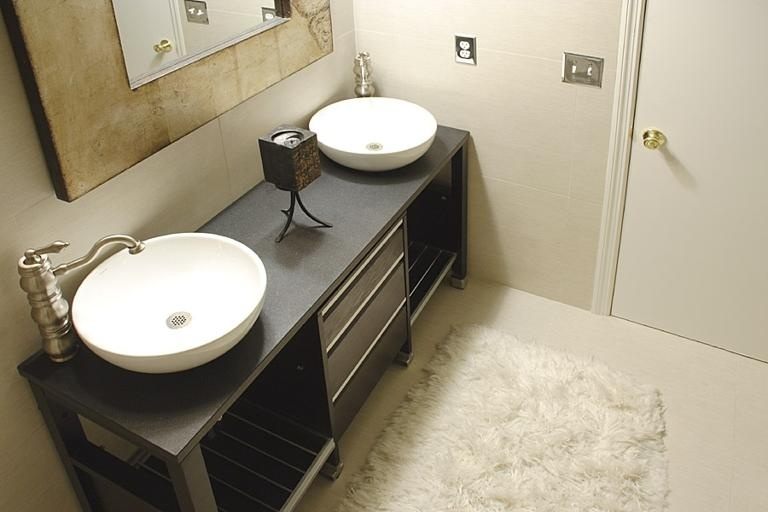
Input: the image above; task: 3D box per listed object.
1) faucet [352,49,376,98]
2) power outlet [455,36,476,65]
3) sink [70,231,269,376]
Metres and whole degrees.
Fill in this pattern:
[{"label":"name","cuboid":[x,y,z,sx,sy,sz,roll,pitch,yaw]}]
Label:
[{"label":"faucet","cuboid":[-0.110,-0.982,3.133,0.096,0.231,0.140,-3,37,-5]},{"label":"power outlet","cuboid":[0.423,-1.067,2.980,0.124,0.146,0.012,17,45,26]},{"label":"sink","cuboid":[-0.779,0.195,2.167,0.621,0.229,0.633,13,41,8]}]
